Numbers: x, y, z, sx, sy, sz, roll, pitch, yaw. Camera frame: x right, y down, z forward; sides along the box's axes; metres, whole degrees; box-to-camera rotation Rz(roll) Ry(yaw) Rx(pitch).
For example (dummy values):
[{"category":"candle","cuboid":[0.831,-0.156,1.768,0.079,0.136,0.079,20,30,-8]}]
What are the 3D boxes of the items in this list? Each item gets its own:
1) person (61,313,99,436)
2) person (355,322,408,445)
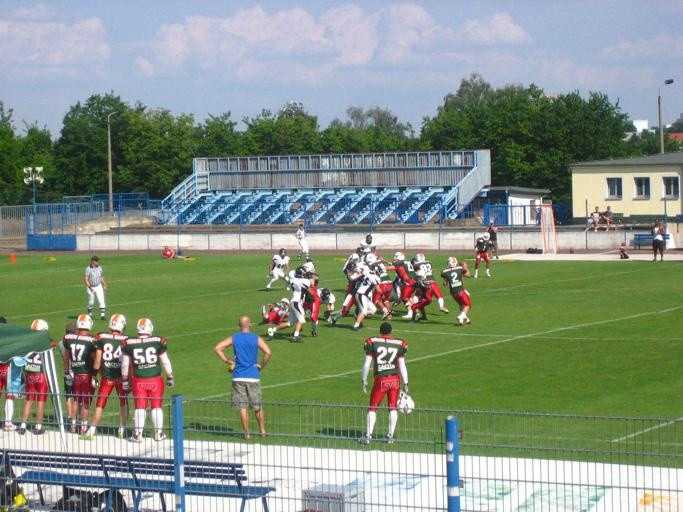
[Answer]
[{"category":"person","cuboid":[-8.095,3.605,49.606,1.328,4.264,1.014,-3,6,-21]},{"category":"person","cuboid":[1.376,3.904,49.402,1.527,3.842,0.940,1,3,9]}]
